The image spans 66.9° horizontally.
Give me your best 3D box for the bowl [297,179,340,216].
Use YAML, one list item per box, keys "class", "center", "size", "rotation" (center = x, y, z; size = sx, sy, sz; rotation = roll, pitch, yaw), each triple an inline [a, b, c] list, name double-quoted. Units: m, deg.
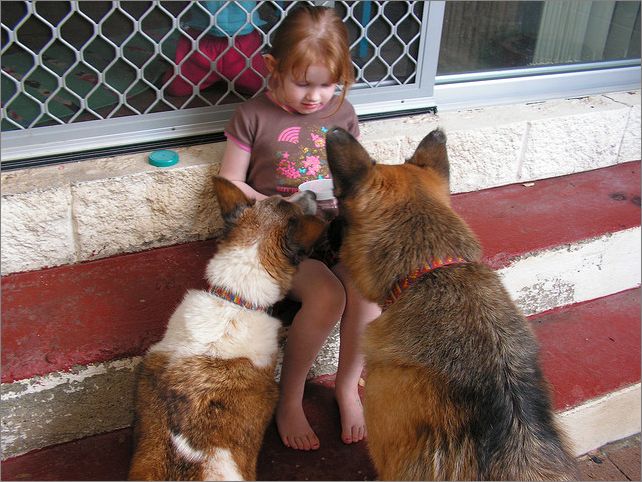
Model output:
- class: "bowl"
  center: [-0.008, -0.259, 2.687]
  size: [0.275, 0.141, 0.224]
  rotation: [-3, 30, 3]
